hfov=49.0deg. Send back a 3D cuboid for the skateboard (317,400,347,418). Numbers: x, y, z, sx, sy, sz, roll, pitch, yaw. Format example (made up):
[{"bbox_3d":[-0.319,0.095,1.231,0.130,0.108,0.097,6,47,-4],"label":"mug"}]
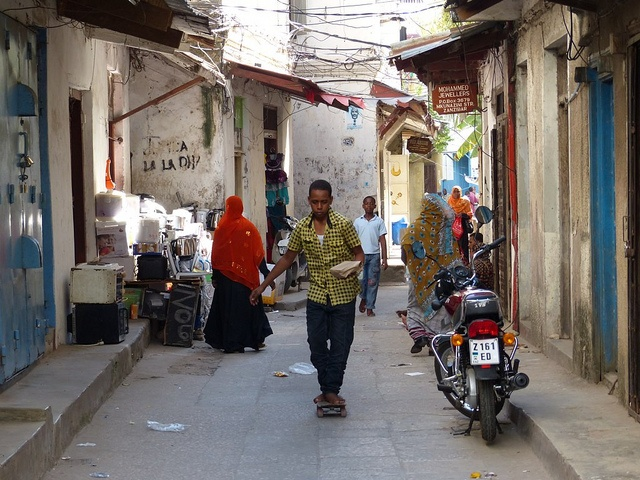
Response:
[{"bbox_3d":[0.113,1.597,6.719,0.288,0.156,0.205,-1,3,-1],"label":"skateboard"}]

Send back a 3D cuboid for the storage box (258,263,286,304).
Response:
[{"bbox_3d":[-0.997,0.933,14.470,0.411,0.699,0.759,3,0,11],"label":"storage box"}]

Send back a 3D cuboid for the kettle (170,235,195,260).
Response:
[{"bbox_3d":[-2.328,0.118,11.975,0.401,0.319,0.341,-2,-2,4],"label":"kettle"}]

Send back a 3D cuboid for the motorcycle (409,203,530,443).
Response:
[{"bbox_3d":[1.650,0.517,8.278,1.337,2.108,5.545,0,3,7],"label":"motorcycle"}]

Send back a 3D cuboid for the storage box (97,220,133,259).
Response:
[{"bbox_3d":[-3.215,-0.026,10.537,0.493,0.523,0.486,-5,9,-34],"label":"storage box"}]

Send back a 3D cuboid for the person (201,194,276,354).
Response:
[{"bbox_3d":[-1.193,0.468,10.033,0.908,2.214,0.944,3,12,-15],"label":"person"}]

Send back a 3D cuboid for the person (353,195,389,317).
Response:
[{"bbox_3d":[0.880,0.296,13.081,0.753,2.199,0.712,1,3,4],"label":"person"}]

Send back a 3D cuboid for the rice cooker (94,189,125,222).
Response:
[{"bbox_3d":[-3.153,-0.530,10.472,0.381,0.409,0.389,0,1,2],"label":"rice cooker"}]

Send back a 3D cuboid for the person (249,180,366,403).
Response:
[{"bbox_3d":[0.006,0.511,6.859,0.871,2.197,0.519,2,4,44],"label":"person"}]

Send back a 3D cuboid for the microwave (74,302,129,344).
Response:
[{"bbox_3d":[-2.688,1.015,8.554,0.606,0.496,0.266,-2,3,-25],"label":"microwave"}]
